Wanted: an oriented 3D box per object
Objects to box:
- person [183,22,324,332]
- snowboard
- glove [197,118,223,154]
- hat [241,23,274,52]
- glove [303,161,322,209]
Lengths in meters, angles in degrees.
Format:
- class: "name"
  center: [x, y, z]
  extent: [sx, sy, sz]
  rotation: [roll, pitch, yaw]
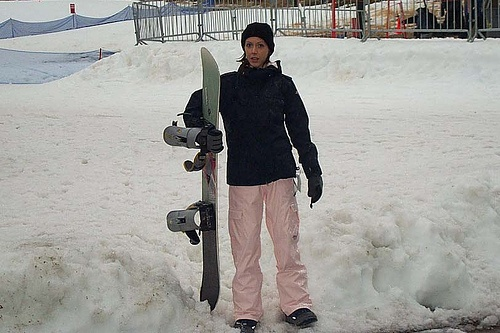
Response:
- class: "person"
  center: [0.193, 0.071, 4.011]
  extent: [0.874, 2.795, 0.695]
  rotation: [-4, 11, -4]
- class: "snowboard"
  center: [-0.568, 0.140, 4.056]
  extent: [0.313, 2.527, 0.590]
  rotation: [0, 3, 5]
- class: "glove"
  center: [-0.431, -0.269, 3.913]
  extent: [0.282, 0.244, 0.221]
  rotation: [-2, 21, -16]
- class: "hat"
  center: [0.091, -1.257, 4.077]
  extent: [0.246, 0.234, 0.271]
  rotation: [5, -11, 10]
- class: "glove"
  center: [0.585, 0.185, 3.970]
  extent: [0.188, 0.460, 0.219]
  rotation: [-2, 12, 7]
